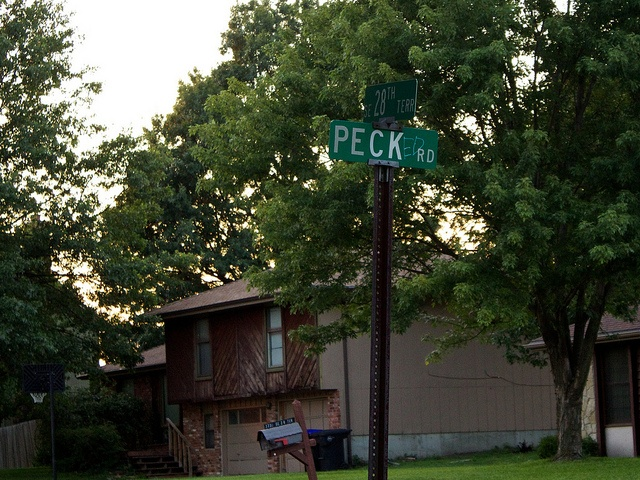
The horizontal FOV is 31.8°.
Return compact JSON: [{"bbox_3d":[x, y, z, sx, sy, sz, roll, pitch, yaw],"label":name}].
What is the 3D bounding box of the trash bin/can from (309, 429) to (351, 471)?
[{"bbox_3d":[0.390,7.256,38.847,0.644,1.507,2.109,-12,-17,36],"label":"trash bin/can"}]
